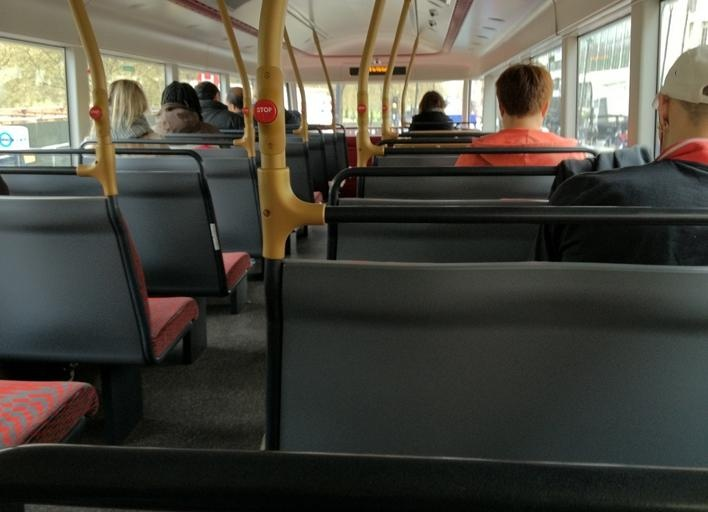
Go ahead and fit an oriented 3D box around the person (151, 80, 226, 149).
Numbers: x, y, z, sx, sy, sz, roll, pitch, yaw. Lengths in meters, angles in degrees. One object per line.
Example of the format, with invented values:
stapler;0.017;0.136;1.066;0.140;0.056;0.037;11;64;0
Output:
person;-1.575;-1.275;4.885;0.769;0.612;0.509;5;7;-35
